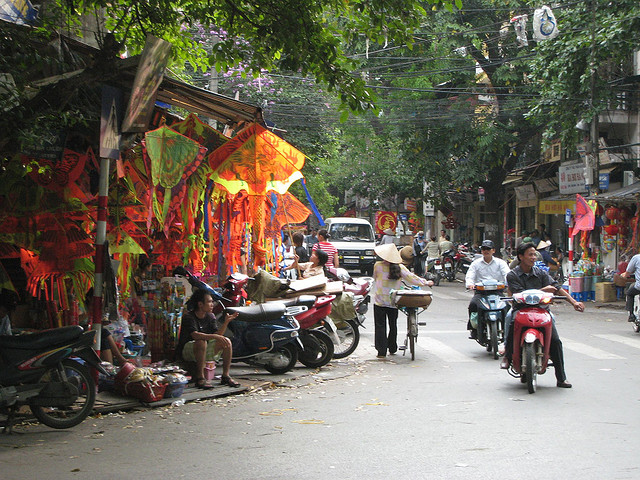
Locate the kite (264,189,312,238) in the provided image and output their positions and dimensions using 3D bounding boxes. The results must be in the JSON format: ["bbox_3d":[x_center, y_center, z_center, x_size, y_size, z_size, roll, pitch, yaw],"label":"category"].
[{"bbox_3d":[-0.650,-0.495,13.379,0.899,0.832,0.805,2,2,10],"label":"kite"}]

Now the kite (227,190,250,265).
[{"bbox_3d":[-1.488,-0.281,13.004,0.387,1.511,0.359,5,5,2],"label":"kite"}]

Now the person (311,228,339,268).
[{"bbox_3d":[0.130,0.164,15.709,0.691,0.680,1.269,0,-5,-5],"label":"person"}]

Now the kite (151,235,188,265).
[{"bbox_3d":[-2.559,0.179,11.911,0.526,0.539,0.055,1,-7,-11],"label":"kite"}]

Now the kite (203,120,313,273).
[{"bbox_3d":[-1.152,-0.641,12.435,2.322,2.829,2.341,0,5,16],"label":"kite"}]

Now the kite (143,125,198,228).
[{"bbox_3d":[-2.161,-0.909,10.127,0.207,1.416,0.783,2,3,45],"label":"kite"}]

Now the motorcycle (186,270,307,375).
[{"bbox_3d":[-1.510,1.420,10.792,2.253,1.447,1.076,5,0,7],"label":"motorcycle"}]

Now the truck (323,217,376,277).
[{"bbox_3d":[1.150,-0.019,30.557,2.212,2.280,4.195,1,12,-3],"label":"truck"}]

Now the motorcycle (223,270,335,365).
[{"bbox_3d":[-1.035,1.375,11.655,2.679,1.446,0.858,-1,7,13],"label":"motorcycle"}]

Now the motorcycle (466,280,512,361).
[{"bbox_3d":[2.996,1.323,12.583,0.833,1.118,2.068,-3,-2,12],"label":"motorcycle"}]

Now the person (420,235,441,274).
[{"bbox_3d":[4.316,0.322,27.511,0.775,0.893,1.370,1,9,5],"label":"person"}]

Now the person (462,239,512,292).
[{"bbox_3d":[2.871,0.496,12.197,0.672,0.700,1.139,1,-14,8],"label":"person"}]

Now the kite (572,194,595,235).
[{"bbox_3d":[7.752,-0.779,20.723,0.587,1.183,1.114,0,2,19],"label":"kite"}]

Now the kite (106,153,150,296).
[{"bbox_3d":[-2.860,-0.285,10.037,0.706,2.040,0.650,-4,4,-14],"label":"kite"}]

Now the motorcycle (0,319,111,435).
[{"bbox_3d":[-3.004,1.517,7.808,0.611,1.111,1.057,1,2,42],"label":"motorcycle"}]

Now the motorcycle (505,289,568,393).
[{"bbox_3d":[2.850,1.343,9.474,0.524,1.300,0.615,0,2,16],"label":"motorcycle"}]

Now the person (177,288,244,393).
[{"bbox_3d":[-1.601,1.369,9.898,0.801,1.356,0.556,-1,2,-14],"label":"person"}]

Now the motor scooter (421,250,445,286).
[{"bbox_3d":[4.449,1.036,27.845,0.861,1.280,3.762,0,1,8],"label":"motor scooter"}]

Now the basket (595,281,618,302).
[{"bbox_3d":[8.478,1.467,21.084,0.765,0.691,0.528,-2,3,-41],"label":"basket"}]

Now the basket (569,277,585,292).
[{"bbox_3d":[7.710,1.325,21.053,0.494,0.442,0.164,-1,2,-23],"label":"basket"}]
